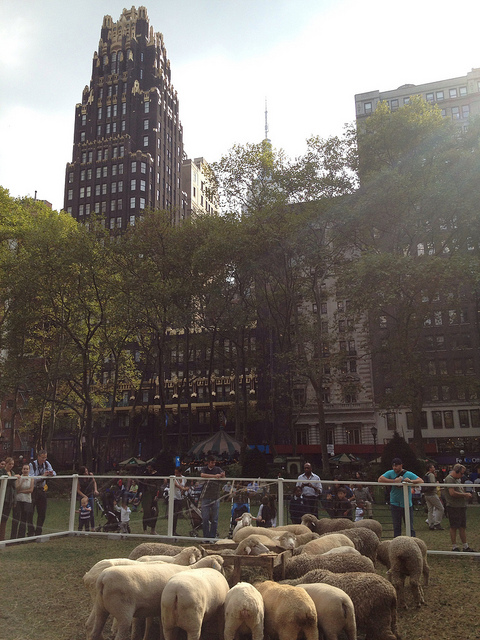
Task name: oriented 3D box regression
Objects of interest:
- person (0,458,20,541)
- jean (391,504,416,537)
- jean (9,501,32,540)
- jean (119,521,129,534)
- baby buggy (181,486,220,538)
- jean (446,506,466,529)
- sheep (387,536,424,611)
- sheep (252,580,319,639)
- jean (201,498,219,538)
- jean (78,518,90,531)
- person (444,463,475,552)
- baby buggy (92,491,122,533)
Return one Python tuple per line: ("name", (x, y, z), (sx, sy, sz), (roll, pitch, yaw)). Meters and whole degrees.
("person", (-5.102, 3.919, 12.313), (0.417, 1.712, 1.417), (3, -13, -21))
("jean", (3.281, 4.045, 11.291), (0.417, 0.642, 0.808), (-5, -13, 14))
("jean", (-4.857, 4.418, 12.375), (0.393, 0.814, 0.670), (3, -13, -22))
("jean", (-2.833, 5.071, 13.710), (0.215, 0.279, 0.338), (1, -13, -13))
("baby buggy", (-0.965, 4.391, 12.871), (0.970, 1.539, 0.772), (-1, -5, 0))
("jean", (4.283, 3.856, 10.953), (0.553, 0.439, 0.303), (5, -14, -28))
("sheep", (2.547, 3.620, 8.307), (0.363, 0.985, 1.263), (-5, -11, 23))
("sheep", (0.395, 2.874, 5.541), (0.326, 0.545, 0.771), (13, -28, -32))
("jean", (-0.674, 4.509, 12.770), (0.381, 1.203, 0.307), (2, 17, 0))
("jean", (-3.933, 5.159, 14.108), (0.285, 0.284, 0.118), (10, -16, -43))
("person", (4.313, 3.755, 11.047), (0.462, 1.749, 1.301), (-5, -13, 19))
("baby buggy", (-3.442, 4.898, 14.365), (0.732, 0.969, 1.254), (10, -17, -43))
